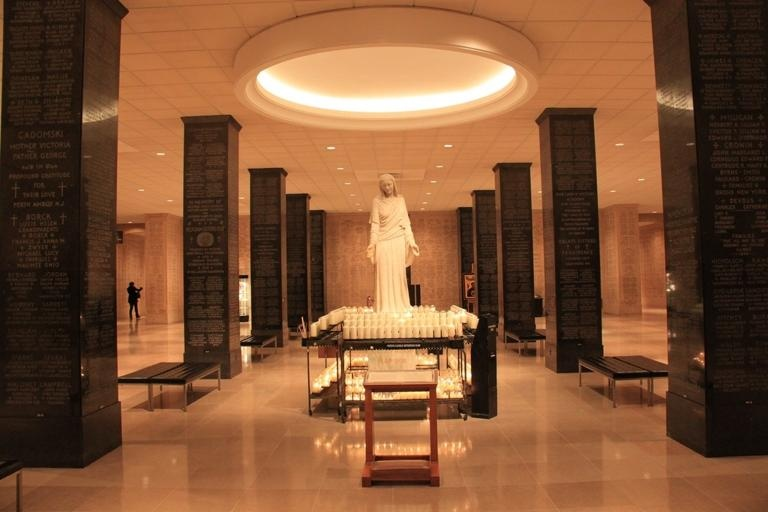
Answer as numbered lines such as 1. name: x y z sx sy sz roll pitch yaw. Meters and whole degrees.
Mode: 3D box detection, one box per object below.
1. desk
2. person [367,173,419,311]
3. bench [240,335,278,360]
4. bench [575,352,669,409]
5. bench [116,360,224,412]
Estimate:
1. desk: 0.218 2.191 7.784 0.985 1.250 0.800 -1 7 4
2. person: 0.154 -0.048 10.785 0.832 1.996 0.672 -2 7 1
3. bench: -2.976 2.080 14.062 0.650 0.300 0.875 2 2 0
4. bench: 4.212 2.153 10.586 1.304 0.652 1.730 0 7 8
5. bench: -3.761 2.269 10.842 1.297 0.653 1.880 -1 6 6
